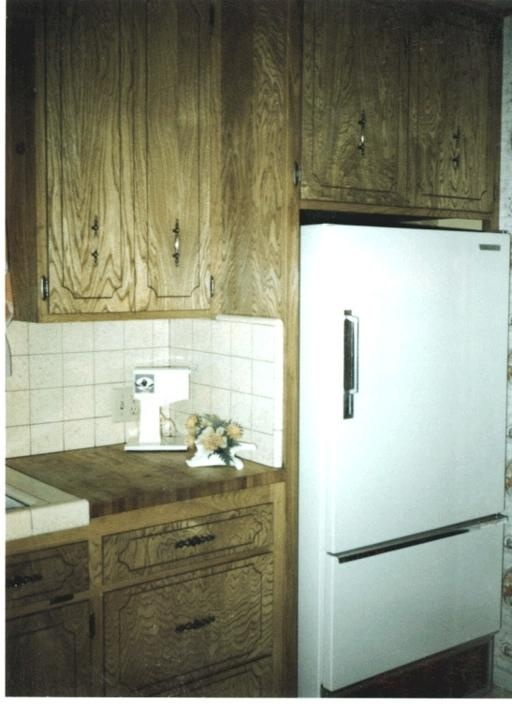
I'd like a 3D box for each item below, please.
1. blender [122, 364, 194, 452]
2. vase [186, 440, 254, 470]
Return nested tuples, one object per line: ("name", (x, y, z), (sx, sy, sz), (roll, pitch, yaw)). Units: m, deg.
("blender", (-0.324, 0.138, 2.231), (0.185, 0.307, 0.215), (-1, 31, -9))
("vase", (-0.108, 0.310, 1.975), (0.113, 0.074, 0.104), (-2, -4, 5))
